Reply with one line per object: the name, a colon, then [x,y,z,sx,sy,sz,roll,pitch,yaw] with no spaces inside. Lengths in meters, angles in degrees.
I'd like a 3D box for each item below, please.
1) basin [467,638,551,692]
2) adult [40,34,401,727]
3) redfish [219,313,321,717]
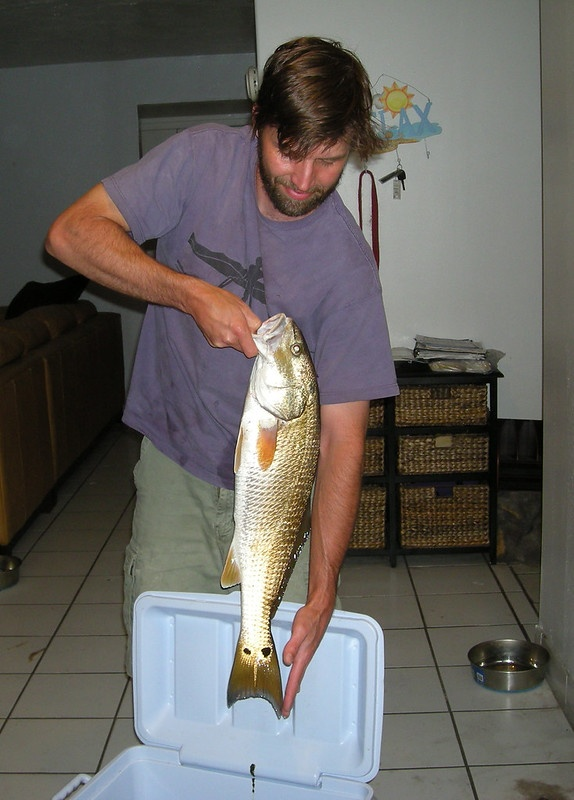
basin: [0.796,0.959,2.627,0.302,0.097,0.246,-6,12,-25]
adult: [-0.136,0.072,1.467,0.687,1.378,0.472,9,8,10]
redfish: [-0.022,0.192,1.176,0.171,0.658,0.107,-3,11,-11]
